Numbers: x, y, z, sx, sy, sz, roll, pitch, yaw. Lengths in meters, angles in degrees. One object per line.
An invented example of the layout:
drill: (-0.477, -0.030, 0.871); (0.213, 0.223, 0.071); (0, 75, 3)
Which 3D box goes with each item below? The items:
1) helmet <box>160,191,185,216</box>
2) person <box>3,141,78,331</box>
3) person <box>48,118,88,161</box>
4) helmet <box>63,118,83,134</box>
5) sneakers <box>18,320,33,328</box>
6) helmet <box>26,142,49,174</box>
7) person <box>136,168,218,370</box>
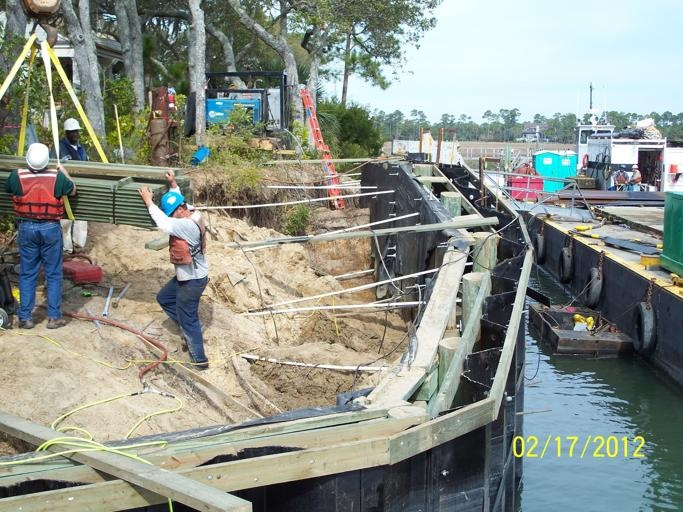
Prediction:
helmet: (-2.400, -0.747, 12.140); (0.252, 0.203, 0.364); (-3, 40, 29)
person: (-4.172, -0.269, 12.050); (0.825, 2.528, 0.416); (-5, 10, -22)
person: (-4.401, -1.799, 14.213); (0.569, 0.811, 0.450); (-2, -9, -40)
helmet: (-4.423, -2.099, 14.170); (0.278, 0.226, 0.378); (-4, 8, -33)
sneakers: (-4.385, 0.928, 12.009); (0.192, 0.113, 0.140); (-3, 9, -8)
helmet: (-4.223, -1.350, 11.979); (0.282, 0.402, 0.296); (2, 13, -7)
person: (-2.384, 0.223, 12.491); (0.900, 2.863, 0.836); (-5, 10, -20)
